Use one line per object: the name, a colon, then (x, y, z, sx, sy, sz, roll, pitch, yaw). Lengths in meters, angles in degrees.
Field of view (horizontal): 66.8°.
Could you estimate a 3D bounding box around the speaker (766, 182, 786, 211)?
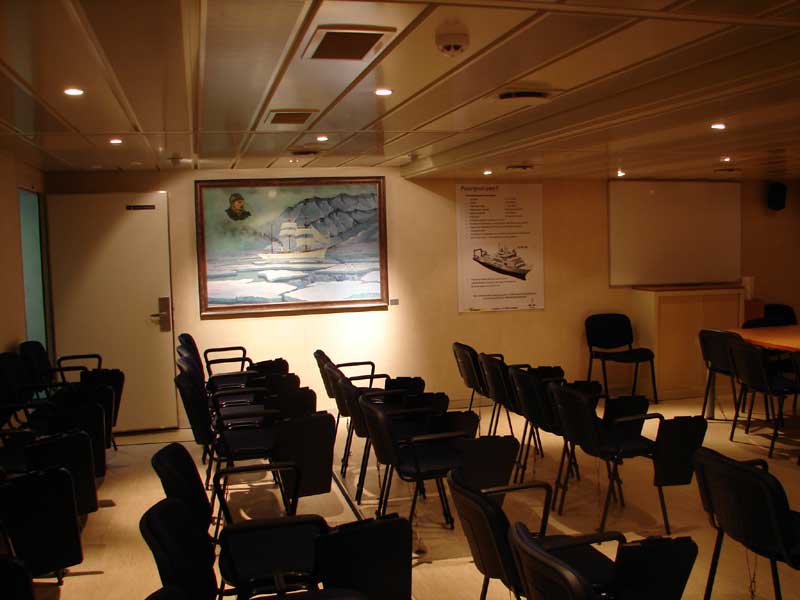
speaker: (4.840, -1.324, 7.794, 0.223, 0.347, 0.331, -1, 3, 31)
